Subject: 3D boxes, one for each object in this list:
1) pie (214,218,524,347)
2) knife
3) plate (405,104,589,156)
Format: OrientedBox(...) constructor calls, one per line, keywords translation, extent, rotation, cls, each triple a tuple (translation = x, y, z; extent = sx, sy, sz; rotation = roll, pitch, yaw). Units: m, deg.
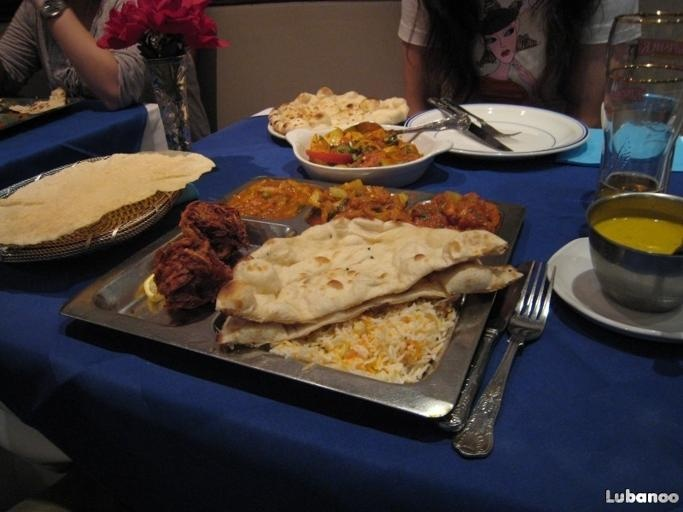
OrientedBox(translation=(0.026, 0.067, 1.539), extent=(0.707, 0.141, 0.415), rotation=(-13, 31, -11), cls="pie")
OrientedBox(translation=(0.636, -0.685, 2.599), extent=(0.155, 0.084, 0.658), rotation=(-16, 36, -26), cls="knife")
OrientedBox(translation=(0.833, -0.635, 2.556), extent=(0.529, 0.066, 0.497), rotation=(4, 30, 10), cls="plate")
